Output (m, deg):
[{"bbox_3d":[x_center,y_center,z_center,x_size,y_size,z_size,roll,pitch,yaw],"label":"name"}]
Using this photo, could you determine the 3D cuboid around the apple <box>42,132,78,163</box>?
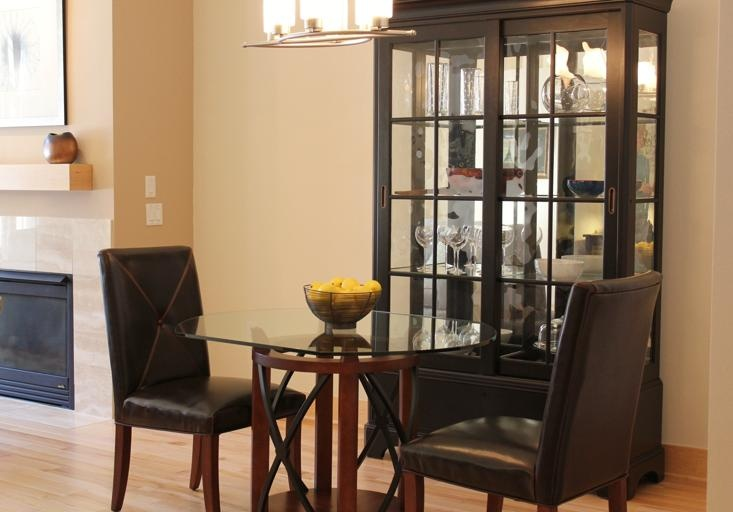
[{"bbox_3d":[-1.996,-0.686,4.302,0.208,0.210,0.195,-1,5,-24],"label":"apple"}]

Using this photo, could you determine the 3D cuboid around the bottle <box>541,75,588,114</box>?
[{"bbox_3d":[1.022,-0.820,3.418,0.198,0.188,0.158,-2,4,21],"label":"bottle"}]

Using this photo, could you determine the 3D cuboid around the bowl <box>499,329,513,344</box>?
[{"bbox_3d":[0.756,0.436,3.605,0.067,0.052,0.070,-1,1,0],"label":"bowl"}]

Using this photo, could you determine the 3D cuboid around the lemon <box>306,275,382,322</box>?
[{"bbox_3d":[-0.109,0.203,2.844,0.319,0.195,0.172,0,7,-6],"label":"lemon"}]
